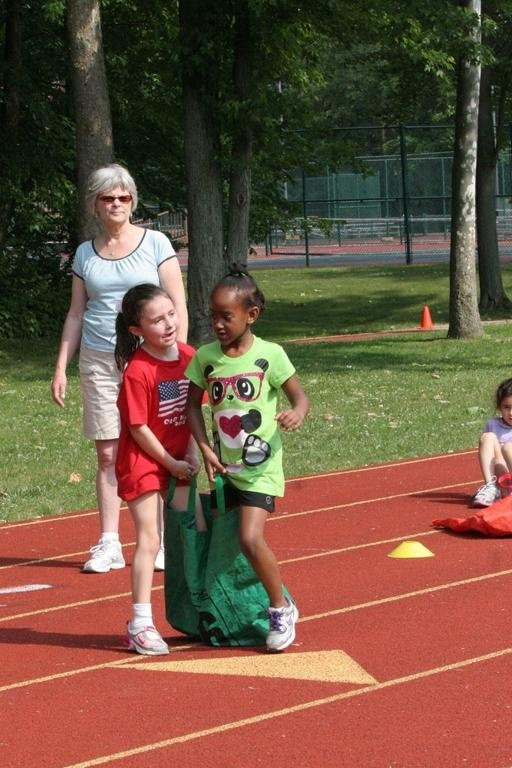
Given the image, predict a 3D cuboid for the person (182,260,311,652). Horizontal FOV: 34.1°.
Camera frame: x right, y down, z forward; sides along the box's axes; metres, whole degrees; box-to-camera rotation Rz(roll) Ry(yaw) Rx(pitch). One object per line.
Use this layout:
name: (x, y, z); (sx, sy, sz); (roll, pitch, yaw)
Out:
person: (-0.016, 0.297, 3.058); (0.371, 1.457, 0.509); (-5, 4, -41)

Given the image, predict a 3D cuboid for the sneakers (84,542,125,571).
sneakers: (-0.808, 0.919, 4.489); (0.110, 0.140, 0.300); (-3, -6, 21)

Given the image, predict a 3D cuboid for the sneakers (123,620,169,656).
sneakers: (-0.440, 0.957, 3.163); (0.092, 0.094, 0.211); (2, -1, -42)

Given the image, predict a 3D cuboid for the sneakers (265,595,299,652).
sneakers: (0.077, 0.865, 3.080); (0.089, 0.225, 0.106); (-10, -45, 27)

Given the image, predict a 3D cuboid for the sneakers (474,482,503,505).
sneakers: (1.547, 0.715, 5.577); (0.088, 0.110, 0.259); (0, 18, 32)
